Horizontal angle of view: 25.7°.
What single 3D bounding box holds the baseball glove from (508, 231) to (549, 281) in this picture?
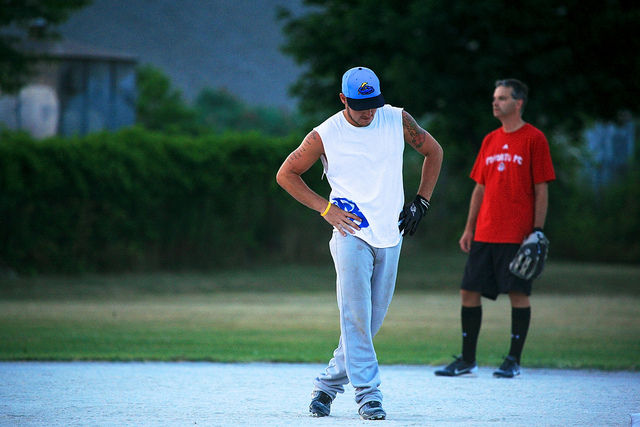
[{"bbox_3d":[3.056,0.640,20.369,0.440,0.778,0.307,23,-5,-3],"label":"baseball glove"}]
